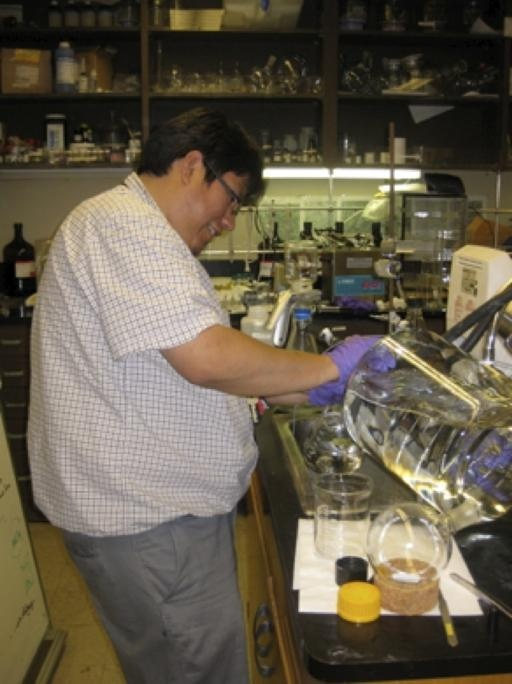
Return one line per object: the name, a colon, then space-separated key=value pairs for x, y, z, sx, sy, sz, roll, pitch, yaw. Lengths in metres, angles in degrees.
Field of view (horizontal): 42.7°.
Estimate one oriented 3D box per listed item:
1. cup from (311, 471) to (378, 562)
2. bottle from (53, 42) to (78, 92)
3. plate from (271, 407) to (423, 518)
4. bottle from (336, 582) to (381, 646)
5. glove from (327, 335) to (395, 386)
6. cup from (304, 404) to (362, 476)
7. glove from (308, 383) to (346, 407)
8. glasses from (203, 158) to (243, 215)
cup: x=0.124 y=0.243 z=0.953 sx=0.089 sy=0.128 sz=0.109 roll=3 pitch=-3 yaw=-22
bottle: x=-1.070 y=-1.532 z=3.685 sx=0.130 sy=0.313 sz=0.266 roll=-7 pitch=12 yaw=-11
plate: x=0.142 y=0.196 z=1.034 sx=0.191 sy=0.063 sz=0.326 roll=-1 pitch=12 yaw=-8
bottle: x=0.121 y=0.309 z=0.781 sx=0.046 sy=0.032 sz=0.046 roll=1 pitch=18 yaw=0
glove: x=0.163 y=0.013 z=1.046 sx=0.089 sy=0.033 sz=0.068 roll=-33 pitch=47 yaw=-17
cup: x=0.135 y=0.206 z=1.284 sx=0.119 sy=0.111 sz=0.076 roll=1 pitch=0 yaw=-33
glove: x=0.122 y=0.090 z=1.161 sx=0.044 sy=0.021 sz=0.056 roll=-22 pitch=-4 yaw=32
glasses: x=-0.057 y=-0.278 z=1.167 sx=0.017 sy=0.057 sz=0.055 roll=-39 pitch=-22 yaw=11
